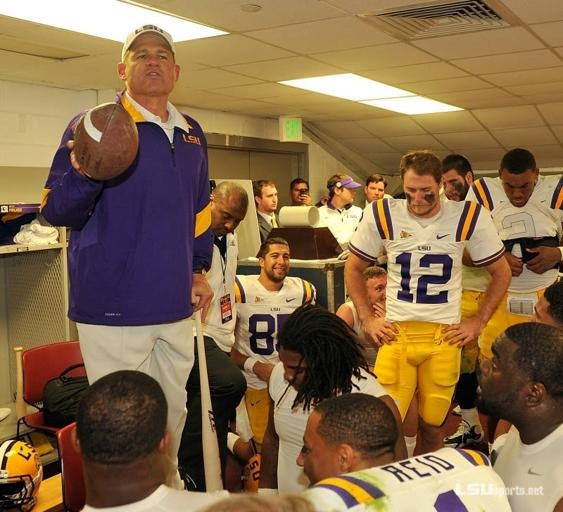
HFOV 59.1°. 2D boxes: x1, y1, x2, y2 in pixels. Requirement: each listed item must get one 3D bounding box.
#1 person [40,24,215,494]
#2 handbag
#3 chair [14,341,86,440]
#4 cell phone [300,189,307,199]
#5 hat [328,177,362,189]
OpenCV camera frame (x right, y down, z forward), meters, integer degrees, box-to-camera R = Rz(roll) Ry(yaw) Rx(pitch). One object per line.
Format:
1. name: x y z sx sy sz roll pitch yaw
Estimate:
1. person: -0.464 0.045 1.743 0.336 1.727 0.666 5 7 39
2. handbag: -1.264 0.826 3.083 0.372 0.328 0.244 5 2 -28
3. chair: -1.334 0.836 3.088 0.439 0.492 0.434 -4 -1 27
4. cell phone: 0.303 -0.891 6.788 0.079 0.100 0.103 -2 4 5
5. hat: 0.823 -0.994 6.540 0.286 0.095 0.189 2 4 19
